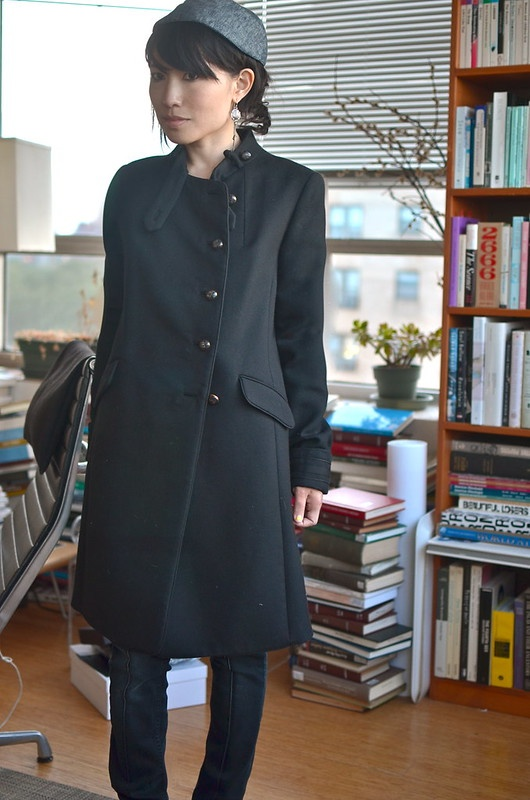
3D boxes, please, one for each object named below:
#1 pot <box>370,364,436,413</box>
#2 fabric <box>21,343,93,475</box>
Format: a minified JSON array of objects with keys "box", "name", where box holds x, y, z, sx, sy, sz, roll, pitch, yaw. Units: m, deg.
[{"box":[0.498,-0.045,2.661,0.187,0.124,0.179,-1,2,0],"name":"pot"},{"box":[-0.425,0.009,1.460,0.099,0.254,0.261,24,-10,-21],"name":"fabric"}]
